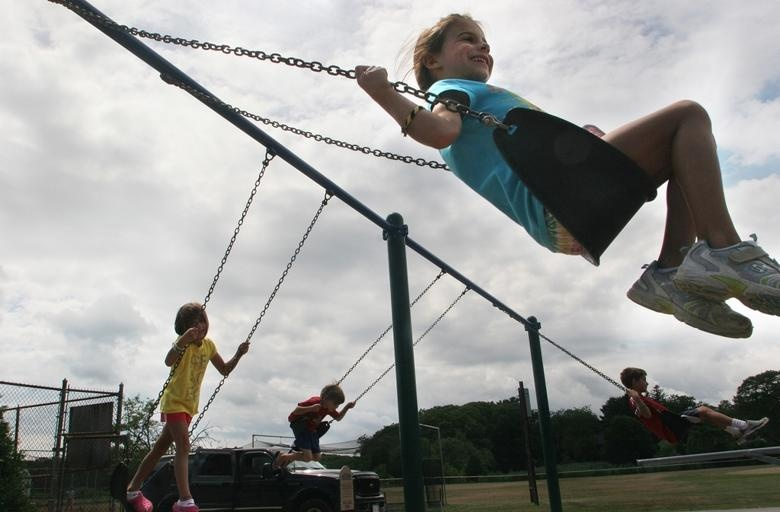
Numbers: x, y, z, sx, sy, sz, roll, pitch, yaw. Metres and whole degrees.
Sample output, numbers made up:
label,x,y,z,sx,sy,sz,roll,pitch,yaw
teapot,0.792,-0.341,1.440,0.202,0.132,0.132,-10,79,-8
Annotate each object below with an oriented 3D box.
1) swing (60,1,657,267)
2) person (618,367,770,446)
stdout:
label,x,y,z,sx,sy,sz,roll,pitch,yaw
swing,0.591,-0.856,4.280,3.092,0.664,0.673,29,-32,16
person,3.760,1.939,8.041,1.212,1.167,2.941,-10,-22,18
